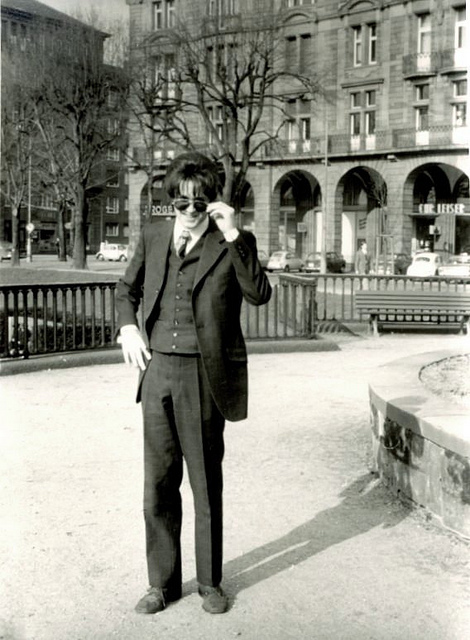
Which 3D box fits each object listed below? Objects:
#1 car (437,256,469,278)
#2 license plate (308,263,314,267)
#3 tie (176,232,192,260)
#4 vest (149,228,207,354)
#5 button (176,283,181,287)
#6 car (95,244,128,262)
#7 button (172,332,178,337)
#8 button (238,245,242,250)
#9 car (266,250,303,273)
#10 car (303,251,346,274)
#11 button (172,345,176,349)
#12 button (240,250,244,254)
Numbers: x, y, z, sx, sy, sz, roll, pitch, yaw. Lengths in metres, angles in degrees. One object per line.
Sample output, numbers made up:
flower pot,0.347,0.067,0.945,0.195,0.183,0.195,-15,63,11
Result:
car,10.310,-2.547,38.311,1.352,0.870,6.467,3,5,14
license plate,4.428,-3.168,47.360,0.332,0.226,0.350,1,5,0
tie,-0.204,-0.293,3.207,0.034,0.130,0.034,13,-8,-8
vest,-0.218,-0.131,3.131,0.234,0.693,0.101,14,41,5
button,-0.219,-0.134,3.170,0.015,0.014,0.009,1,4,-8
car,-9.961,-4.984,66.178,2.425,1.602,1.776,0,9,5
button,-0.229,0.059,3.113,0.017,0.017,0.007,2,4,6
button,0.019,-0.273,3.096,0.014,0.018,0.004,-1,-1,14
car,3.022,-3.447,47.633,1.006,1.178,2.046,5,11,40
car,5.188,-3.415,47.988,1.924,1.230,3.109,6,6,42
button,-0.233,0.105,3.100,0.012,0.014,0.008,2,4,7
button,0.025,-0.257,3.099,0.011,0.015,0.008,2,20,1
